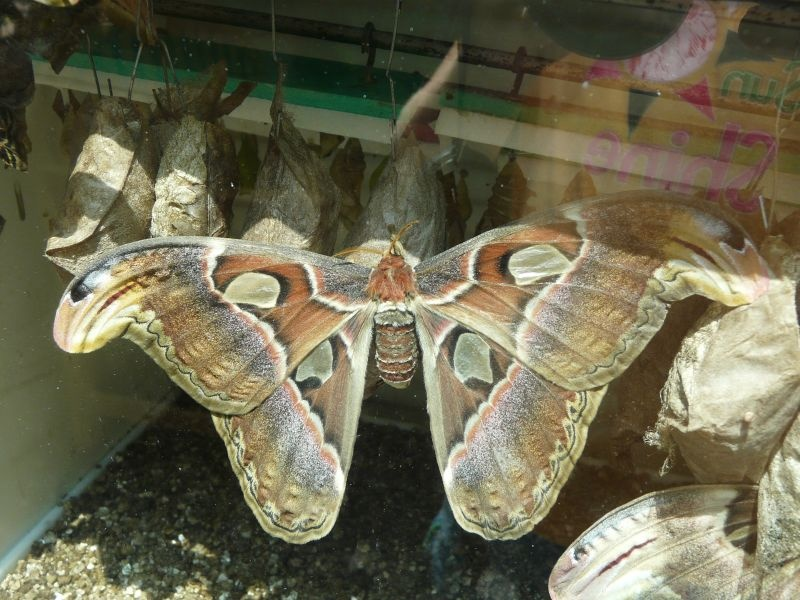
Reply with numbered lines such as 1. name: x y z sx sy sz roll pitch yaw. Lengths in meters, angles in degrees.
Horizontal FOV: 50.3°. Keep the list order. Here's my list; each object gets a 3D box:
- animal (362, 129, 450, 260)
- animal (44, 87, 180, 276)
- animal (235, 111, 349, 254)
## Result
1. animal: 0.006 -0.244 2.019 0.254 0.287 0.101 4 6 5
2. animal: -0.717 -0.283 2.197 0.384 0.430 0.163 -3 1 21
3. animal: -0.274 -0.250 2.148 0.235 0.452 0.120 -8 56 -4
